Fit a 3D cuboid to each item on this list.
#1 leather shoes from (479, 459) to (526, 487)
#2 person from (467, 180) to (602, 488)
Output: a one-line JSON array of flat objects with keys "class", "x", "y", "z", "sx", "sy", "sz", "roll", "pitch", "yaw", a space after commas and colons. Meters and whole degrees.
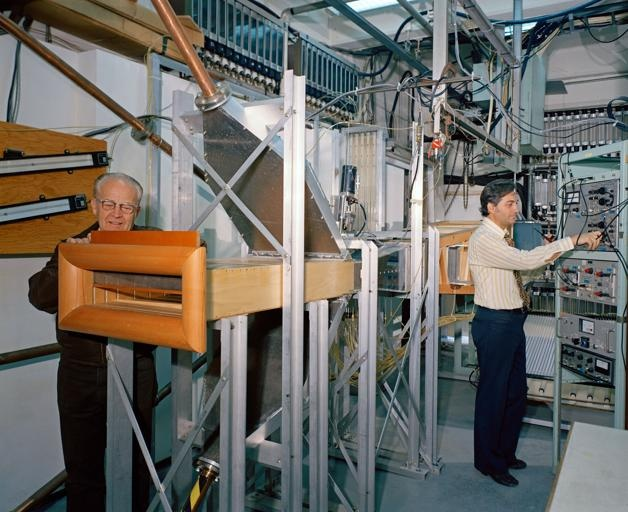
[{"class": "leather shoes", "x": 1.179, "y": 1.355, "z": 3.678, "sx": 0.111, "sy": 0.173, "sz": 0.368, "roll": 5, "pitch": -16, "yaw": -27}, {"class": "person", "x": 1.230, "y": 0.461, "z": 3.605, "sx": 0.583, "sy": 1.819, "sz": 0.426, "roll": 2, "pitch": 7, "yaw": 16}]
